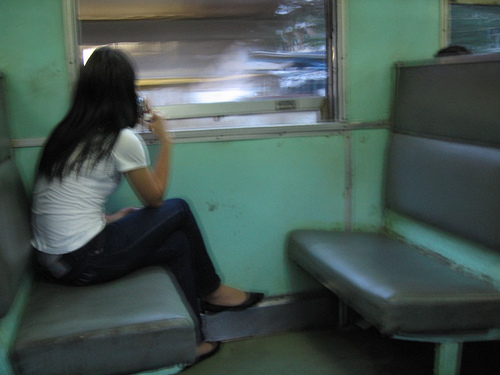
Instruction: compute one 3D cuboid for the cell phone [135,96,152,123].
[{"bbox_3d":[-0.547,-0.399,2.059,0.086,0.135,0.056,-17,22,-25],"label":"cell phone"}]
